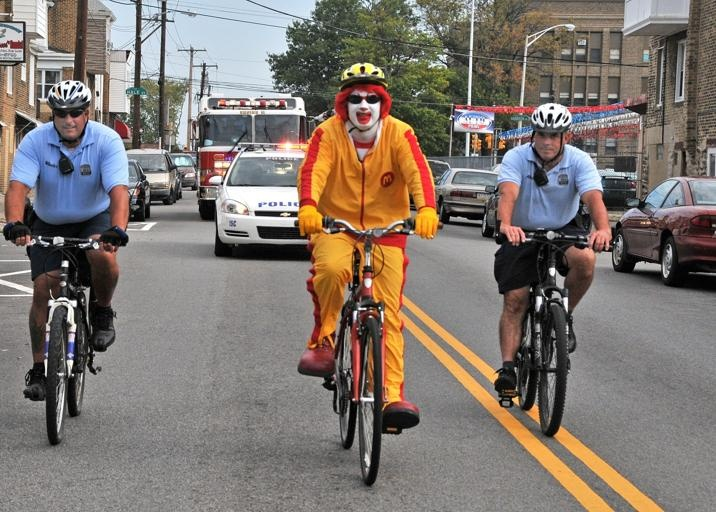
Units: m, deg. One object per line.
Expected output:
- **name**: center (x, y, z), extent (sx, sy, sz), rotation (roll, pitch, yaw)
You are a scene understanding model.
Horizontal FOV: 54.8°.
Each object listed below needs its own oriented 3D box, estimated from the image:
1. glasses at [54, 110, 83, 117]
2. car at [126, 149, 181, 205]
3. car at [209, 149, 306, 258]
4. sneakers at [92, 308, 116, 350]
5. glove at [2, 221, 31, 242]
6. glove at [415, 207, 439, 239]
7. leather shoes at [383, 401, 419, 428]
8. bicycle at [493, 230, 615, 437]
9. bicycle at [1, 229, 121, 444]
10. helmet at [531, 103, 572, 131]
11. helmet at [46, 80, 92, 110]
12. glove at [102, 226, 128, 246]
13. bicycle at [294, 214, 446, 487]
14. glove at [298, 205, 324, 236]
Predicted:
- **glasses**: center (-2.017, -1.005, 4.856), extent (0.179, 0.063, 0.050), rotation (-1, 5, -18)
- **car**: center (-9.848, -3.933, 34.042), extent (2.132, 2.060, 3.986), rotation (-2, 1, -2)
- **car**: center (-2.107, -1.115, 14.864), extent (1.801, 2.308, 2.517), rotation (0, 5, -10)
- **sneakers**: center (-2.001, 0.560, 5.463), extent (0.120, 0.401, 0.172), rotation (-3, -24, -6)
- **glove**: center (-2.224, -0.157, 4.526), extent (0.149, 0.133, 0.227), rotation (-2, 6, -28)
- **glove**: center (0.427, -0.207, 4.263), extent (0.144, 0.192, 0.240), rotation (2, 5, 5)
- **leather shoes**: center (0.251, 0.945, 4.066), extent (0.203, 0.175, 0.130), rotation (1, 5, 1)
- **bicycle**: center (1.380, 0.554, 5.205), extent (0.574, 1.516, 1.019), rotation (2, 5, 7)
- **bicycle**: center (-2.062, 0.548, 4.941), extent (0.425, 1.413, 1.113), rotation (-1, 5, -21)
- **helmet**: center (1.490, -1.078, 5.347), extent (0.290, 0.243, 0.319), rotation (3, 6, 14)
- **helmet**: center (-2.010, -1.173, 4.937), extent (0.192, 0.115, 0.295), rotation (-1, 17, -3)
- **glove**: center (-1.590, -0.130, 4.571), extent (0.163, 0.087, 0.125), rotation (-1, -34, 32)
- **bicycle**: center (0.035, 0.563, 4.304), extent (0.509, 1.600, 1.096), rotation (-1, 5, -22)
- **glove**: center (-0.288, -0.219, 4.247), extent (0.144, 0.187, 0.268), rotation (1, 6, -6)
